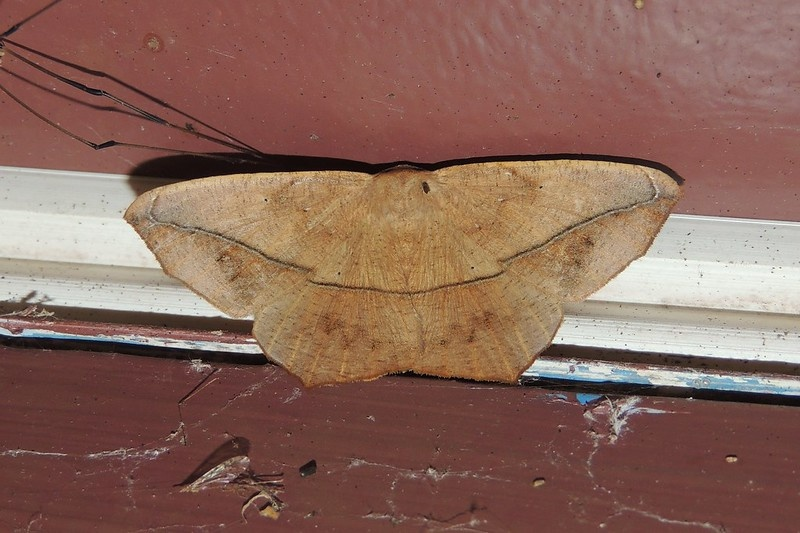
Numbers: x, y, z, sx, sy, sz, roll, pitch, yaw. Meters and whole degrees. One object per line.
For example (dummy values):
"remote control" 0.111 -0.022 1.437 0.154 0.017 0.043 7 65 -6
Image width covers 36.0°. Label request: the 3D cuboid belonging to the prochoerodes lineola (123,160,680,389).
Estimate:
"prochoerodes lineola" 0.026 0.015 9.776 4.455 1.563 0.297 -3 -2 -1
